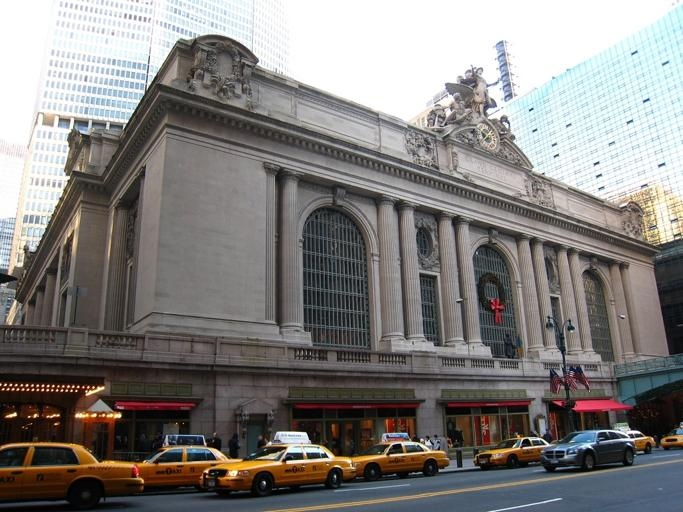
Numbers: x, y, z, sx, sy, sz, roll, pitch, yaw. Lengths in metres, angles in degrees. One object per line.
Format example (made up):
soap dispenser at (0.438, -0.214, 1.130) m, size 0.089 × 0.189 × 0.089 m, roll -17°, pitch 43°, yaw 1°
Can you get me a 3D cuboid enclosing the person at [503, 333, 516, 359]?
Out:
person at (15.006, 7.931, 48.455) m, size 1.153 × 2.329 × 0.714 m, roll 11°, pitch -25°, yaw -36°
